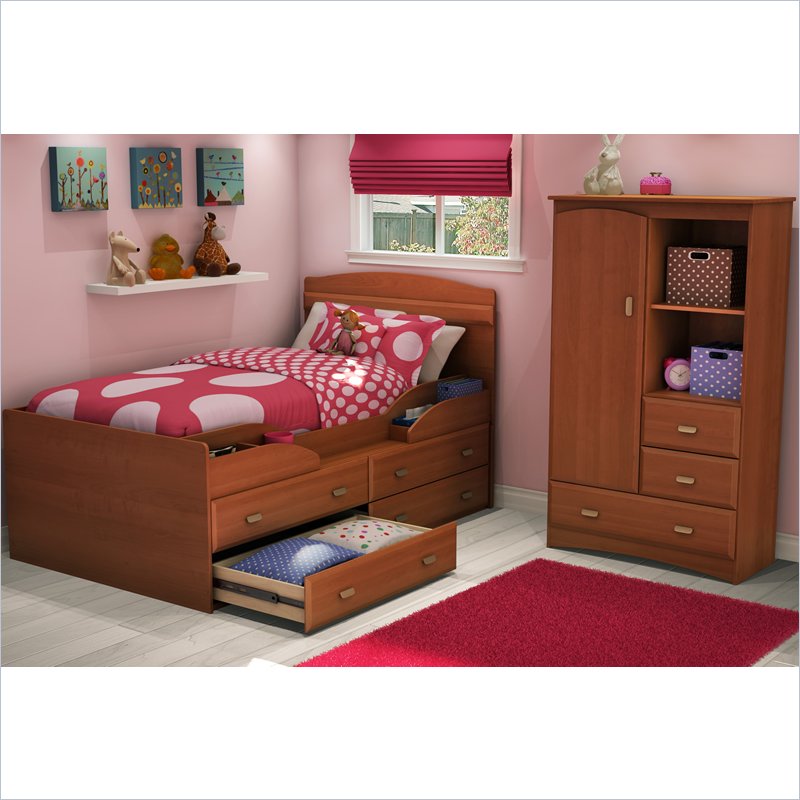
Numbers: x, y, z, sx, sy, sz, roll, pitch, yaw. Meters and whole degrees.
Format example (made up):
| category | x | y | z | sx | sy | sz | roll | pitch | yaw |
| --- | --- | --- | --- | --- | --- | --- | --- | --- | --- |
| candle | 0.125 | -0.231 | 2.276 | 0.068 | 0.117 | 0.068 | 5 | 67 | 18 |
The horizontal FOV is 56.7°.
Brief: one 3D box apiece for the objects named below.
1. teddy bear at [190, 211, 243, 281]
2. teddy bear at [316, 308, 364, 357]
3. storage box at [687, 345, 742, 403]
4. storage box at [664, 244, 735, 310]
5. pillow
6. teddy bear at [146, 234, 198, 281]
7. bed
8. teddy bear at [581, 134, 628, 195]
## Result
| category | x | y | z | sx | sy | sz | roll | pitch | yaw |
| --- | --- | --- | --- | --- | --- | --- | --- | --- | --- |
| teddy bear | -1.128 | -0.958 | 4.568 | 0.282 | 0.347 | 0.270 | 18 | 21 | 17 |
| teddy bear | -0.336 | -0.379 | 4.436 | 0.152 | 0.336 | 0.171 | 26 | 35 | 35 |
| storage box | 1.483 | -0.123 | 3.489 | 0.284 | 0.223 | 0.273 | 7 | 8 | 28 |
| storage box | 1.401 | -0.578 | 3.507 | 0.335 | 0.268 | 0.325 | 6 | 10 | 35 |
| pillow | -0.005 | -0.325 | 4.270 | 1.397 | 0.479 | 0.188 | 12 | -14 | 30 |
| teddy bear | -1.337 | -0.833 | 4.361 | 0.191 | 0.256 | 0.333 | 9 | 14 | 34 |
| bed | -0.427 | 0.078 | 3.917 | 2.094 | 1.164 | 2.041 | 8 | 14 | 32 |
| teddy bear | 1.057 | -1.191 | 3.745 | 0.194 | 0.295 | 0.234 | -23 | 36 | -24 |
